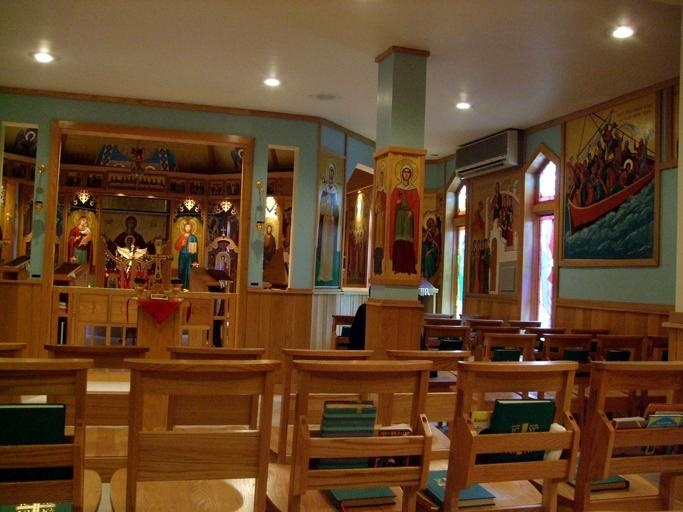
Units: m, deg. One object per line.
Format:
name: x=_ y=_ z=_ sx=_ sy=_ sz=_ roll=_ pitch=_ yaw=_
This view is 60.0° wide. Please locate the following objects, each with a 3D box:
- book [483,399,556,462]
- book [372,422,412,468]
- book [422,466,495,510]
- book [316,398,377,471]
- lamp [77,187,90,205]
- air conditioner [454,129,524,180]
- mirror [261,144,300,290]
book: x=0.827 y=0.833 z=2.809 sx=0.355 sy=0.341 sz=0.280 roll=-13 pitch=-33 yaw=38
book: x=0.239 y=0.911 z=2.849 sx=0.189 sy=0.179 sz=0.158 roll=2 pitch=-3 yaw=-7
book: x=0.574 y=1.139 z=2.883 sx=0.200 sy=0.053 sz=0.215 roll=0 pitch=3 yaw=-5
book: x=0.015 y=0.844 z=2.828 sx=0.309 sy=0.306 sz=0.218 roll=2 pitch=-3 yaw=-3
lamp: x=-6.486 y=-1.571 z=14.855 sx=0.359 sy=0.562 sz=0.084 roll=5 pitch=-7 yaw=-13
air conditioner: x=2.771 y=-1.962 z=11.227 sx=0.336 sy=0.639 sz=1.453 roll=4 pitch=-4 yaw=-28
mirror: x=-1.563 y=-0.547 z=13.742 sx=0.657 sy=3.374 sz=0.271 roll=-2 pitch=-35 yaw=-4
